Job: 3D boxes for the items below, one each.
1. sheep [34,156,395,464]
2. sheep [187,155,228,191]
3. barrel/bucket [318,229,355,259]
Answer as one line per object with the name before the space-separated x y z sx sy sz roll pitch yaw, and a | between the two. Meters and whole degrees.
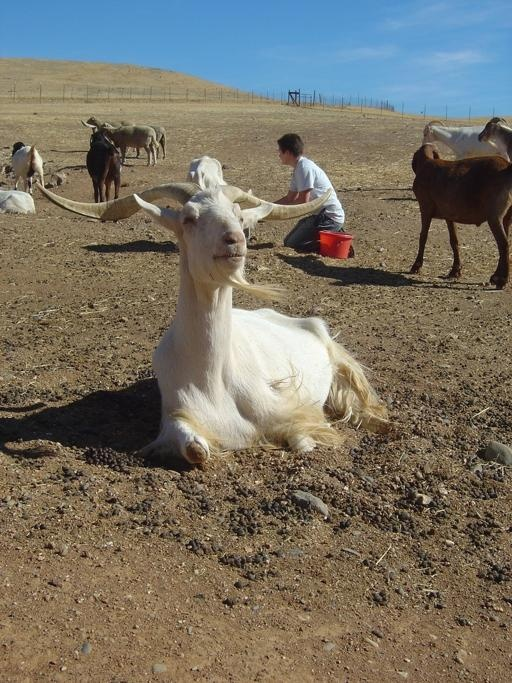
sheep | -0.053 -0.139 3.716 1.241 1.559 2.082 20 25 39
sheep | -0.269 -0.855 3.390 0.217 0.133 0.247 -8 58 6
barrel/bucket | 1.028 -1.247 8.121 0.396 0.258 0.409 1 2 0
